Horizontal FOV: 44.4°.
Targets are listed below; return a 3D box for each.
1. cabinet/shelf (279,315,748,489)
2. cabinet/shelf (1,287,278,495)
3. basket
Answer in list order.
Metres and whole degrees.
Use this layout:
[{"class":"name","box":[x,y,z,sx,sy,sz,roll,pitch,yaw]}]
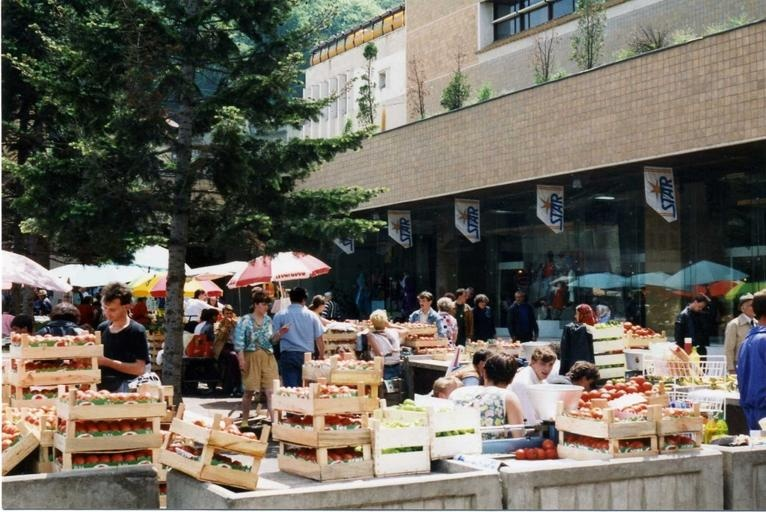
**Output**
[{"class":"cabinet/shelf","box":[1.881,1.938,11.513,3.911,1.368,1.110,-1,-7,3]},{"class":"cabinet/shelf","box":[-2.889,1.519,11.471,1.825,2.518,2.998,5,-9,-36]},{"class":"basket","box":[5.007,1.951,14.894,1.709,1.203,1.061,2,-15,-5]}]
